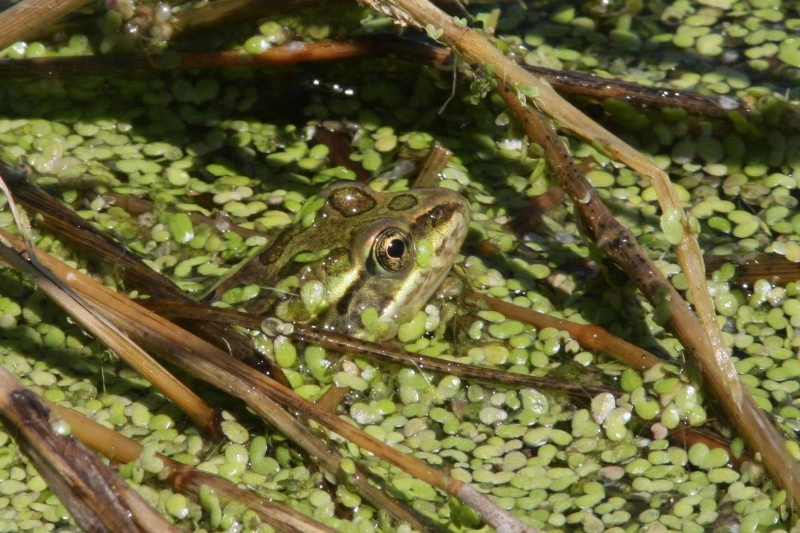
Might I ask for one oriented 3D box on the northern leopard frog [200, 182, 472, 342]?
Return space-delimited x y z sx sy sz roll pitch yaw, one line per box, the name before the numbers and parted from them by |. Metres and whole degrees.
northern leopard frog | -0.207 -0.041 3.077 0.984 0.585 0.505 -22 30 -28
